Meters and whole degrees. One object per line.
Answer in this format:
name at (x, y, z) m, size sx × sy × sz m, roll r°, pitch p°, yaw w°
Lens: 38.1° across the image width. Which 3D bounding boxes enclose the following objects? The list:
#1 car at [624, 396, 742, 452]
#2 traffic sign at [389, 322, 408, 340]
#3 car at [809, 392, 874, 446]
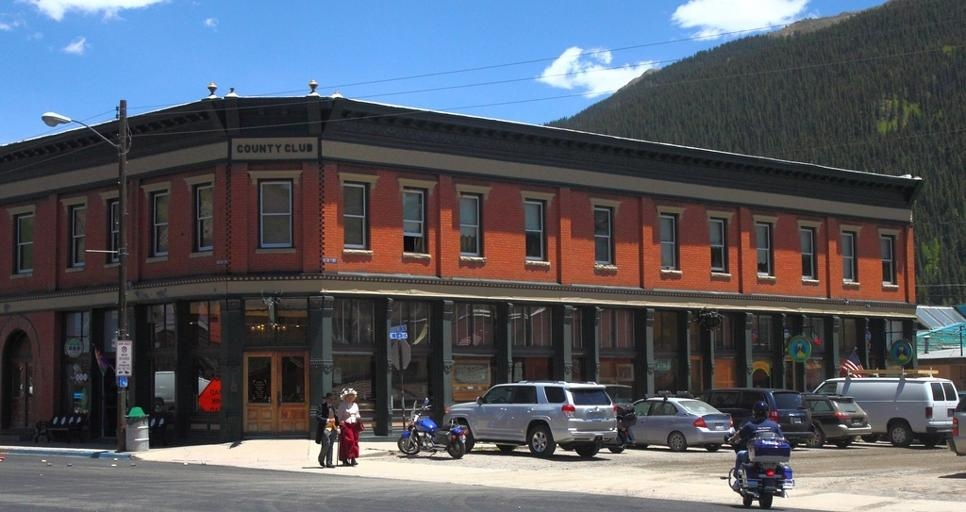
car at (11.211, 9.737, 83.576) m, size 3.736 × 2.678 × 8.170 m, roll -4°, pitch 0°, yaw -40°
traffic sign at (-4.847, 4.378, 80.905) m, size 1.653 × 0.961 × 0.851 m, roll 0°, pitch -1°, yaw -10°
car at (21.220, 9.740, 83.669) m, size 4.542 × 1.736 × 2.332 m, roll 0°, pitch -2°, yaw 42°
